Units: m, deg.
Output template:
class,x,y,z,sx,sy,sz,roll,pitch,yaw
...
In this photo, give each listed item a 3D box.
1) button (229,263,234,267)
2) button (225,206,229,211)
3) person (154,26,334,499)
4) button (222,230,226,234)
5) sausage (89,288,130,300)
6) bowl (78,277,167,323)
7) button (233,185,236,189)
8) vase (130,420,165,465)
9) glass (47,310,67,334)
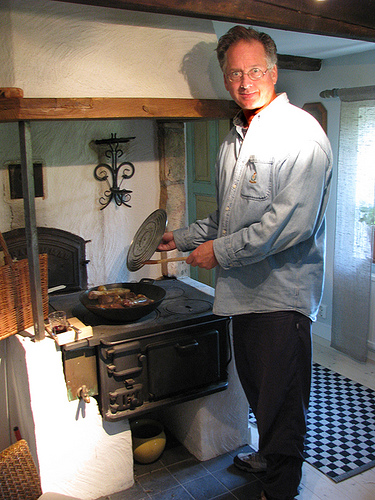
class,x,y,z,sx,sy,sz,roll,pitch,yaw
button,0.144,0.049,1.417,0.014,0.012,0.003,4,11,11
button,0.137,-0.143,1.480,0.005,0.018,0.018,6,41,-15
person,0.259,0.156,1.616,0.494,1.777,0.628,-2,7,4
button,0.127,-0.064,1.504,0.010,0.009,0.002,23,9,36
sausage,-0.346,0.193,1.930,0.061,0.026,0.103,4,7,23
bowl,-0.261,0.203,1.856,0.203,0.062,0.255,8,14,37
button,0.158,-0.215,1.452,0.015,0.013,0.005,1,-3,42
vase,-0.194,0.935,2.066,0.187,0.127,0.188,-2,2,37
glass,-0.492,0.277,1.647,0.063,0.068,0.084,-4,7,-17
